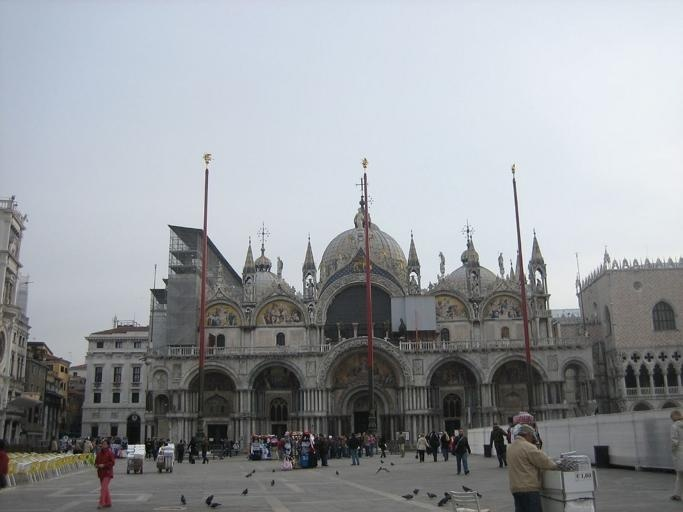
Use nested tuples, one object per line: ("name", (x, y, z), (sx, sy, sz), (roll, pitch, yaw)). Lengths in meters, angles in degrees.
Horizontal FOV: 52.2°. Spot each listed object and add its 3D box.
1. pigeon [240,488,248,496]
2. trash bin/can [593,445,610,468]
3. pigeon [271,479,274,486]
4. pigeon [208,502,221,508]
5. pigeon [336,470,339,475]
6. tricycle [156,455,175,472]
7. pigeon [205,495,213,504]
("pigeon", (-3.250, 7.930, 23.433), (0.198, 0.235, 0.721), (1, -17, -10))
("trash bin/can", (10.947, 8.468, 29.493), (0.695, 0.933, 0.538), (-11, -18, 29))
("pigeon", (-2.585, 8.623, 26.466), (0.140, 0.216, 0.599), (1, -17, -9))
("pigeon", (-3.760, 7.396, 20.766), (0.136, 0.251, 0.367), (4, -9, -11))
("pigeon", (-0.180, 9.957, 31.999), (0.126, 0.131, 0.281), (1, -23, -8))
("tricycle", (-8.854, 10.460, 35.096), (0.607, 0.770, 1.252), (2, -19, -12))
("pigeon", (-4.006, 7.429, 21.194), (0.167, 0.282, 0.690), (2, -17, -12))
